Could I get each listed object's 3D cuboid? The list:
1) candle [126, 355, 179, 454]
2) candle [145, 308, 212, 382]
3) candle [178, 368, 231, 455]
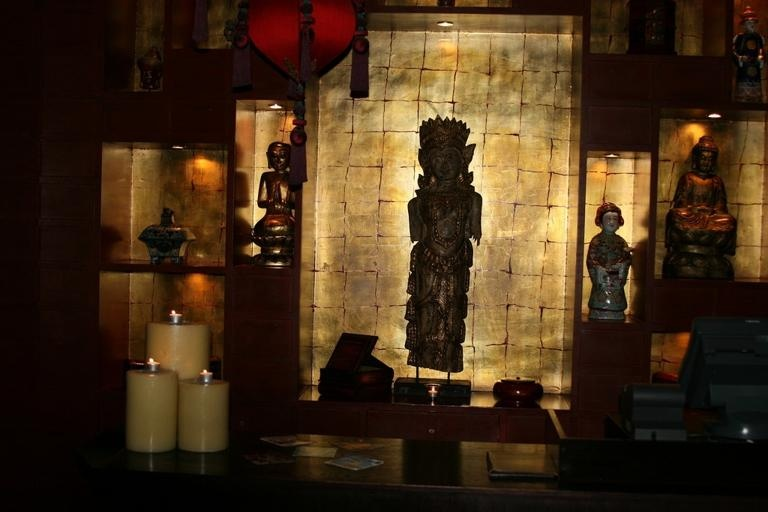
[{"bbox_3d":[-1.084,0.730,4.955,0.238,0.381,0.078,3,3,-12],"label":"candle"},{"bbox_3d":[-1.001,0.419,5.141,0.342,0.269,0.311,-1,4,-8],"label":"candle"},{"bbox_3d":[-0.850,0.731,4.998,0.245,0.377,0.130,3,3,-11],"label":"candle"}]
